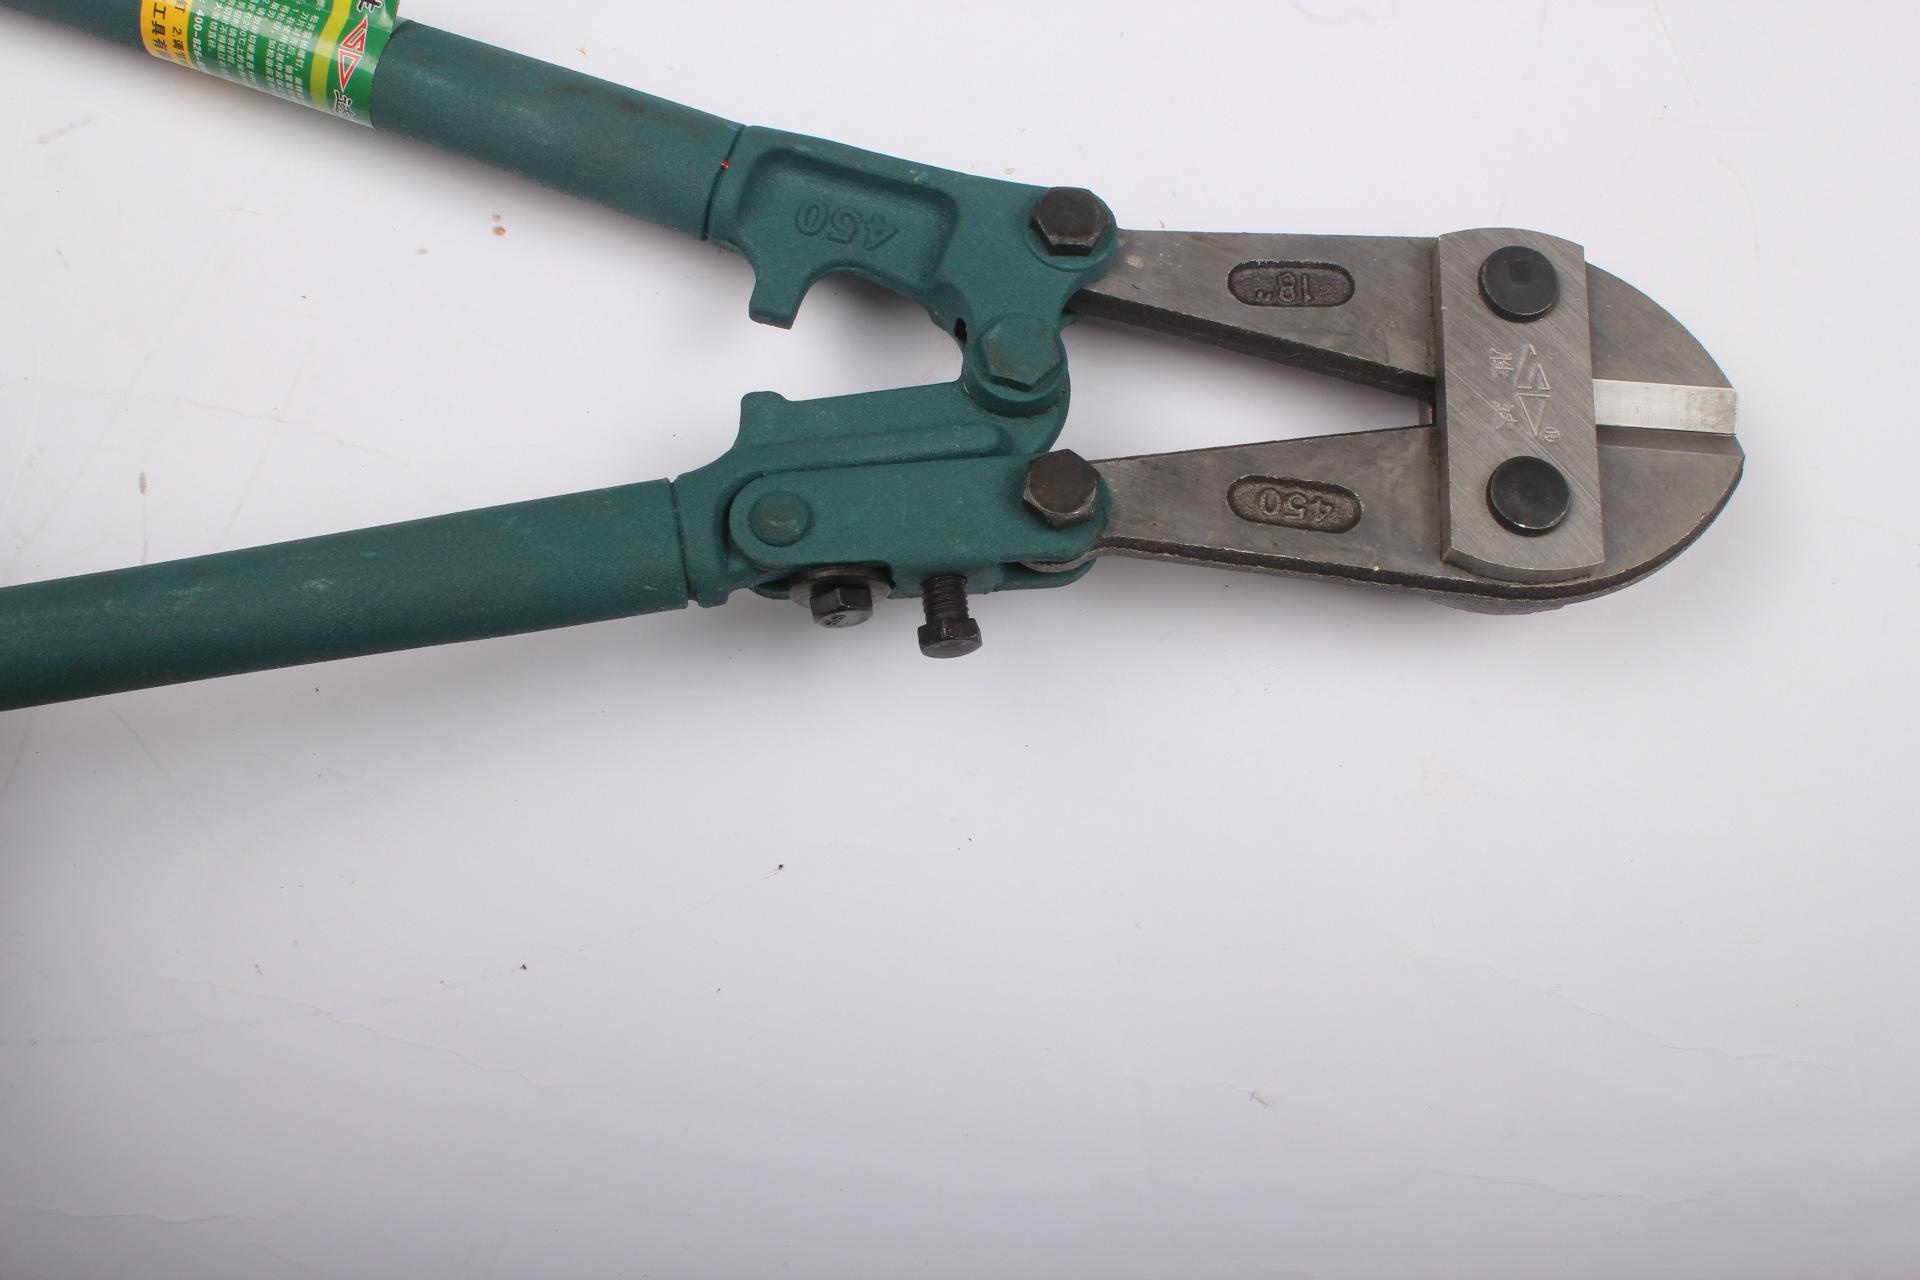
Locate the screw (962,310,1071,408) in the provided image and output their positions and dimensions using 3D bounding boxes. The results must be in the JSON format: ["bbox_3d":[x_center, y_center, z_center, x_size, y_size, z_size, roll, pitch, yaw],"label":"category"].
[{"bbox_3d":[0.057,-0.293,2.287,0.107,0.075,0.087,3,-57,1],"label":"screw"}]

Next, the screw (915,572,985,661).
[{"bbox_3d":[-0.011,-0.027,2.273,0.070,0.068,0.069,-16,-12,-17],"label":"screw"}]

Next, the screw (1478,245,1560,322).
[{"bbox_3d":[0.601,-0.386,2.329,0.085,0.019,0.078,-4,-95,1],"label":"screw"}]

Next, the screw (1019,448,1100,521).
[{"bbox_3d":[0.103,-0.157,2.246,0.078,0.051,0.071,5,-57,0],"label":"screw"}]

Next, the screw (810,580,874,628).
[{"bbox_3d":[-0.126,-0.040,2.246,0.057,0.040,0.052,-10,-12,33],"label":"screw"}]

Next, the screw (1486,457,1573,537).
[{"bbox_3d":[0.596,-0.151,2.285,0.085,0.020,0.078,-13,-97,-1],"label":"screw"}]
